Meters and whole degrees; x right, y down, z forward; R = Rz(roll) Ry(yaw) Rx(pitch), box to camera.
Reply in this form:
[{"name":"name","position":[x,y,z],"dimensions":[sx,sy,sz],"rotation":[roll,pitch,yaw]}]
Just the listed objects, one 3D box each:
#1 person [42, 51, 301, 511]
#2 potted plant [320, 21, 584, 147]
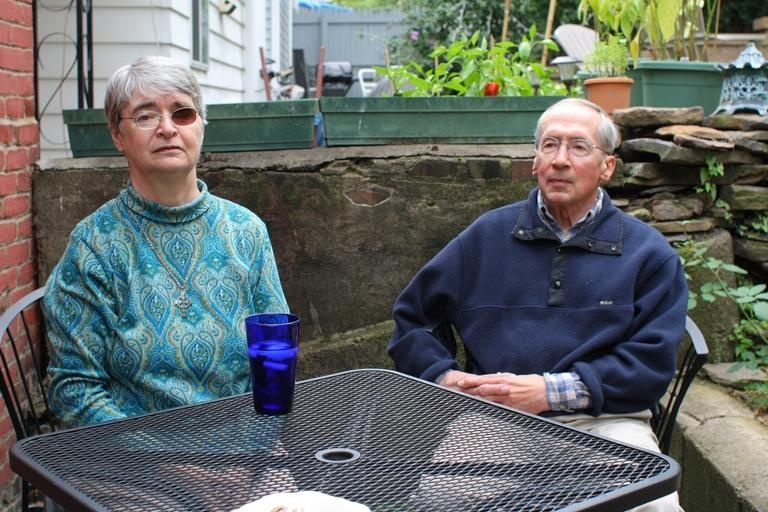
[{"name":"person","position":[-0.833,0.007,3.561],"dimensions":[1.106,1.594,0.920],"rotation":[-10,18,-32]},{"name":"potted plant","position":[0.362,-0.930,5.408],"dimensions":[1.386,0.618,0.867],"rotation":[0,2,-3]}]
